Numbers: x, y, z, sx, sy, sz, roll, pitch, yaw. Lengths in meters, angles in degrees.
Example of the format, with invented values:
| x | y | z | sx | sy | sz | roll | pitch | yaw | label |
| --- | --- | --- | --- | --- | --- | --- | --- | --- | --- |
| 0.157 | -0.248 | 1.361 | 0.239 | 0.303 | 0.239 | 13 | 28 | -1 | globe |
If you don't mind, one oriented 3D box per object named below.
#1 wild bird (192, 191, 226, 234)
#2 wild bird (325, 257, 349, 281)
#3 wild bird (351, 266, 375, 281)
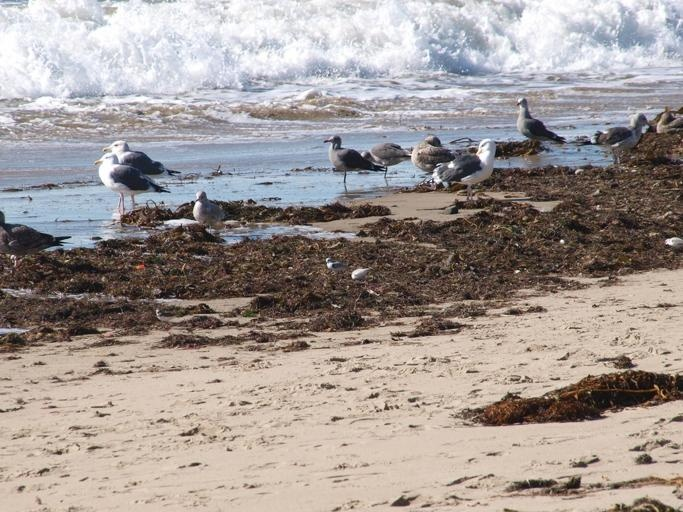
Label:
| x | y | z | sx | sy | sz | roll | pitch | yaw | label |
| --- | --- | --- | --- | --- | --- | --- | --- | --- | --- |
| -3.244 | -1.130 | 27.743 | 0.706 | 0.937 | 0.758 | -5 | 11 | -5 | wild bird |
| -0.115 | 0.259 | 23.921 | 0.348 | 0.317 | 0.587 | -5 | -3 | 39 | wild bird |
| 0.412 | 0.363 | 23.413 | 0.197 | 0.404 | 0.270 | 26 | 14 | -38 | wild bird |
